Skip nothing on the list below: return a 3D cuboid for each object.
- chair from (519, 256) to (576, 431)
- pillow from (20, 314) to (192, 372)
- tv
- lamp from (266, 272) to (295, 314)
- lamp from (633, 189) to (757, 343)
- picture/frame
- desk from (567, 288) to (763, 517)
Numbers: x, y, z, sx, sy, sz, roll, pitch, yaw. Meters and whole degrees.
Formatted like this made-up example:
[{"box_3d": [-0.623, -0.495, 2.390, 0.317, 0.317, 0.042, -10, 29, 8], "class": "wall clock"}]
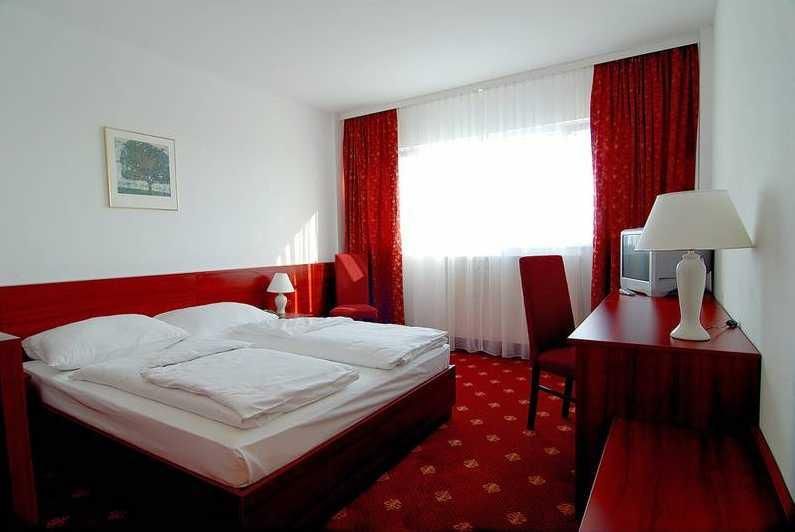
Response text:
[{"box_3d": [1.141, 0.579, 4.042, 0.437, 1.296, 0.828, 4, 15, 16], "class": "chair"}, {"box_3d": [-2.211, 0.562, 3.983, 0.499, 0.167, 0.600, 9, 11, 30], "class": "pillow"}, {"box_3d": [2.328, -0.035, 4.543, 0.556, 0.560, 0.761, 0, 2, -2], "class": "tv"}, {"box_3d": [-1.239, 0.304, 5.523, 0.288, 0.440, 0.292, 0, -5, -17], "class": "lamp"}, {"box_3d": [1.811, 0.007, 3.188, 0.640, 0.875, 0.641, -2, 4, -19], "class": "lamp"}, {"box_3d": [-2.278, -0.865, 4.575, 0.044, 0.905, 0.790, 0, 2, 34], "class": "picture/frame"}, {"box_3d": [1.708, 0.416, 3.565, 0.973, 1.278, 1.939, -1, 2, 19], "class": "desk"}]
